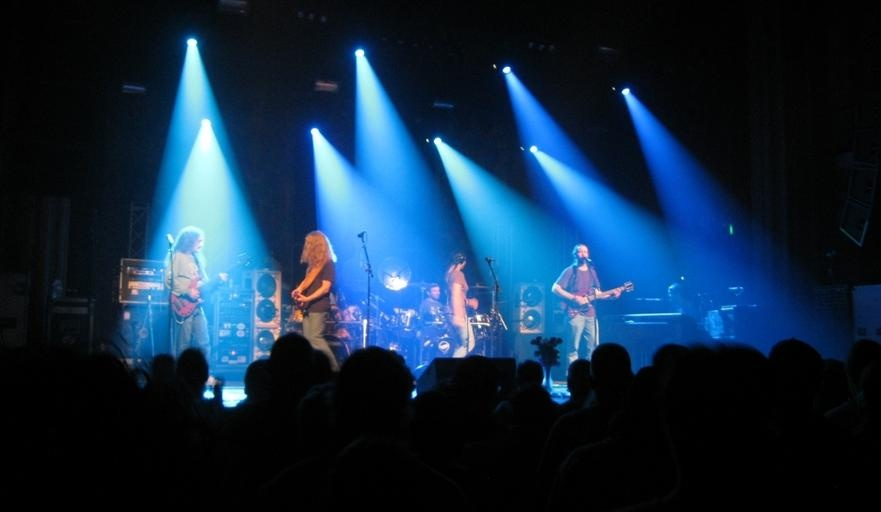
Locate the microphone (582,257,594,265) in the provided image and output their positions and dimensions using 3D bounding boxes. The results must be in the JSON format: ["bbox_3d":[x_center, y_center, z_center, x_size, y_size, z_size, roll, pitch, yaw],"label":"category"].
[{"bbox_3d":[2.905,0.116,14.539,0.208,0.082,0.232,12,2,9],"label":"microphone"}]

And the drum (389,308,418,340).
[{"bbox_3d":[-0.795,1.341,14.937,0.588,0.554,0.523,0,18,-8],"label":"drum"}]

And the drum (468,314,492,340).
[{"bbox_3d":[0.811,1.411,14.794,0.399,0.352,0.440,0,-21,1],"label":"drum"}]

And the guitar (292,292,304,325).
[{"bbox_3d":[-2.663,0.962,13.744,0.227,0.595,0.443,-3,0,-7],"label":"guitar"}]

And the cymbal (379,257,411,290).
[{"bbox_3d":[-0.951,0.366,15.644,0.628,0.613,0.431,21,5,1],"label":"cymbal"}]

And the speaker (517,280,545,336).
[{"bbox_3d":[1.811,1.071,14.915,0.515,1.013,0.270,0,-12,-12],"label":"speaker"}]

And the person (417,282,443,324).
[{"bbox_3d":[-0.217,0.964,14.912,0.445,0.803,0.280,-2,-12,-2],"label":"person"}]

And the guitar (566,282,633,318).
[{"bbox_3d":[3.073,0.876,14.482,2.091,0.324,0.271,-13,-4,-9],"label":"guitar"}]
